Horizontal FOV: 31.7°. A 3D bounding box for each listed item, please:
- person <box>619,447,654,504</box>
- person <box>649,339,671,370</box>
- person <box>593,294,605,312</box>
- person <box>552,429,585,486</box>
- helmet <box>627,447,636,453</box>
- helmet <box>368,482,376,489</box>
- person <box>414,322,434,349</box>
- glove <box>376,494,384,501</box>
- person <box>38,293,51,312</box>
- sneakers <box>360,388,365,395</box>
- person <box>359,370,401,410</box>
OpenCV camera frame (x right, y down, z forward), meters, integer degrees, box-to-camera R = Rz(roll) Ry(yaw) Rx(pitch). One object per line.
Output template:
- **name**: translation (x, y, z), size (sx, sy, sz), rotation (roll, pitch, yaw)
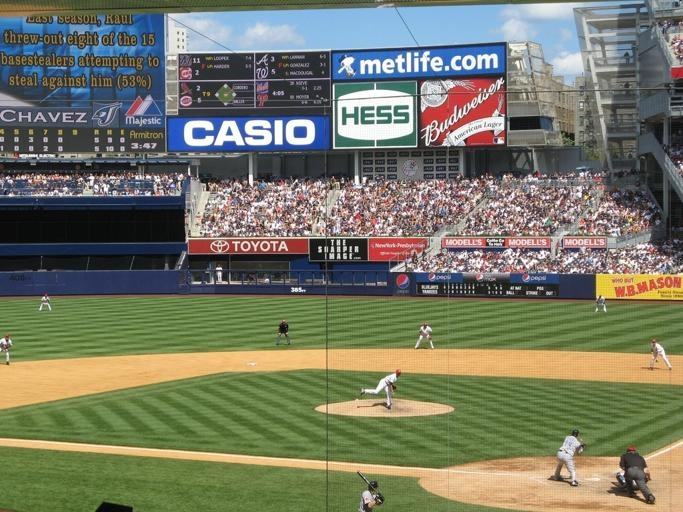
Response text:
- **person**: translation (9.434, 6.930, 38.260), size (1.053, 1.793, 0.508), rotation (-2, 0, 12)
- **person**: translation (12.744, 3.855, 47.994), size (0.768, 1.201, 3.895), rotation (-2, -1, 14)
- **person**: translation (12.539, 2.298, 57.845), size (0.538, 0.773, 1.070), rotation (-2, -1, 12)
- **person**: translation (7.448, 6.499, 39.191), size (1.039, 1.807, 1.132), rotation (-2, 0, 10)
- **helmet**: translation (9.309, 6.191, 38.397), size (0.260, 0.188, 0.186), rotation (-11, 15, -34)
- **helmet**: translation (0.967, 6.933, 36.632), size (0.219, 0.220, 0.296), rotation (-2, -1, 6)
- **person**: translation (3.539, 3.372, 51.344), size (0.792, 1.123, 1.708), rotation (-2, -1, 4)
- **glove**: translation (1.211, 7.351, 36.600), size (0.236, 0.058, 0.239), rotation (29, 12, -14)
- **person**: translation (-15.914, 2.495, 64.320), size (0.804, 1.033, 0.590), rotation (4, -11, -13)
- **sneakers**: translation (0.777, 4.933, 43.997), size (0.203, 0.231, 0.569), rotation (3, 3, 2)
- **person**: translation (1.501, 4.635, 43.363), size (1.095, 1.386, 0.808), rotation (19, 10, -6)
